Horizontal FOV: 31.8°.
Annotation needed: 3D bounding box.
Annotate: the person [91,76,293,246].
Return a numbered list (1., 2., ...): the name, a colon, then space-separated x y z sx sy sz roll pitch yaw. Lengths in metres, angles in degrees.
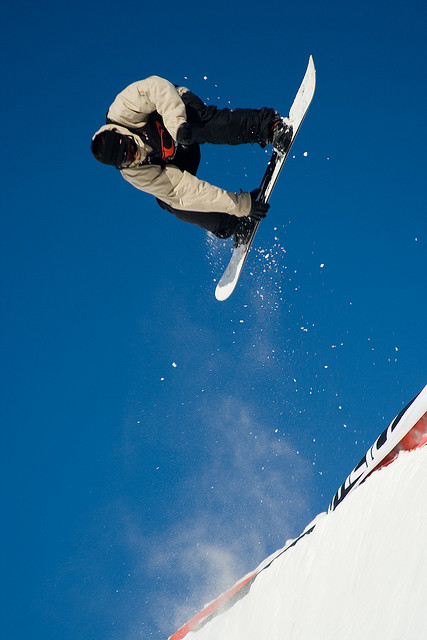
1. person: 0.029 -1.083 5.000 1.514 0.953 0.821 -8 62 30

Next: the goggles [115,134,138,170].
1. goggles: -0.553 -1.075 4.783 0.136 0.163 0.196 -1 51 13

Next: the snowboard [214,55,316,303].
1. snowboard: 0.411 -0.879 5.741 0.285 2.383 0.126 29 15 33

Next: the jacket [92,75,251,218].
1. jacket: -0.205 -1.110 5.226 1.546 1.033 0.591 -12 23 -44
